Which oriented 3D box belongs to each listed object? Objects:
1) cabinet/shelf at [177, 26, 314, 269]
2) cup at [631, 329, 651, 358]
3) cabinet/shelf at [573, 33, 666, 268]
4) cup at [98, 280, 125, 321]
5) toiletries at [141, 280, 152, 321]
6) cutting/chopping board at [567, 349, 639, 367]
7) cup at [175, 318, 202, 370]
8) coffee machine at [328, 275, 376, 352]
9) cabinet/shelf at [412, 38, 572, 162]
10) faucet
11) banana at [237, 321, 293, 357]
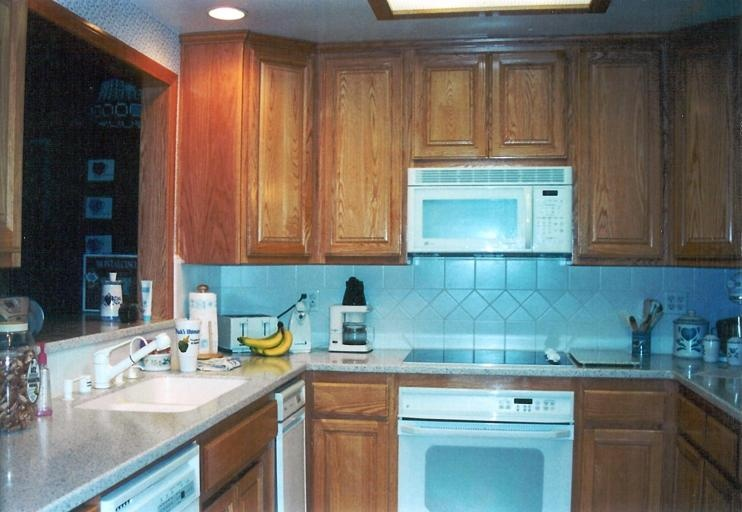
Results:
[{"bbox_3d":[-0.648,-0.539,3.347,0.757,1.102,0.427,-1,3,-7],"label":"cabinet/shelf"},{"bbox_3d":[1.442,0.463,3.487,0.087,0.128,0.182,-1,2,19],"label":"cup"},{"bbox_3d":[1.235,-0.529,3.276,0.416,1.135,0.210,-1,3,25],"label":"cabinet/shelf"},{"bbox_3d":[-1.229,0.207,3.091,0.093,0.189,0.087,-2,2,0],"label":"cup"},{"bbox_3d":[-1.112,0.217,3.231,0.056,0.193,0.063,-3,3,-35],"label":"toiletries"},{"bbox_3d":[1.197,0.522,3.372,0.332,0.031,0.510,-1,2,9],"label":"cutting/chopping board"},{"bbox_3d":[-0.840,0.408,3.005,0.102,0.226,0.134,-2,2,-15],"label":"cup"},{"bbox_3d":[-0.114,0.296,3.623,0.213,0.418,0.190,2,4,9],"label":"coffee machine"},{"bbox_3d":[0.612,-0.785,3.378,0.861,0.581,0.345,1,3,5],"label":"cabinet/shelf"},{"bbox_3d":[-1.024,0.425,2.816,0.309,0.209,0.383,-2,2,-15],"label":"faucet"},{"bbox_3d":[-0.555,0.439,3.443,0.286,0.170,0.148,-2,2,-9],"label":"banana"}]
